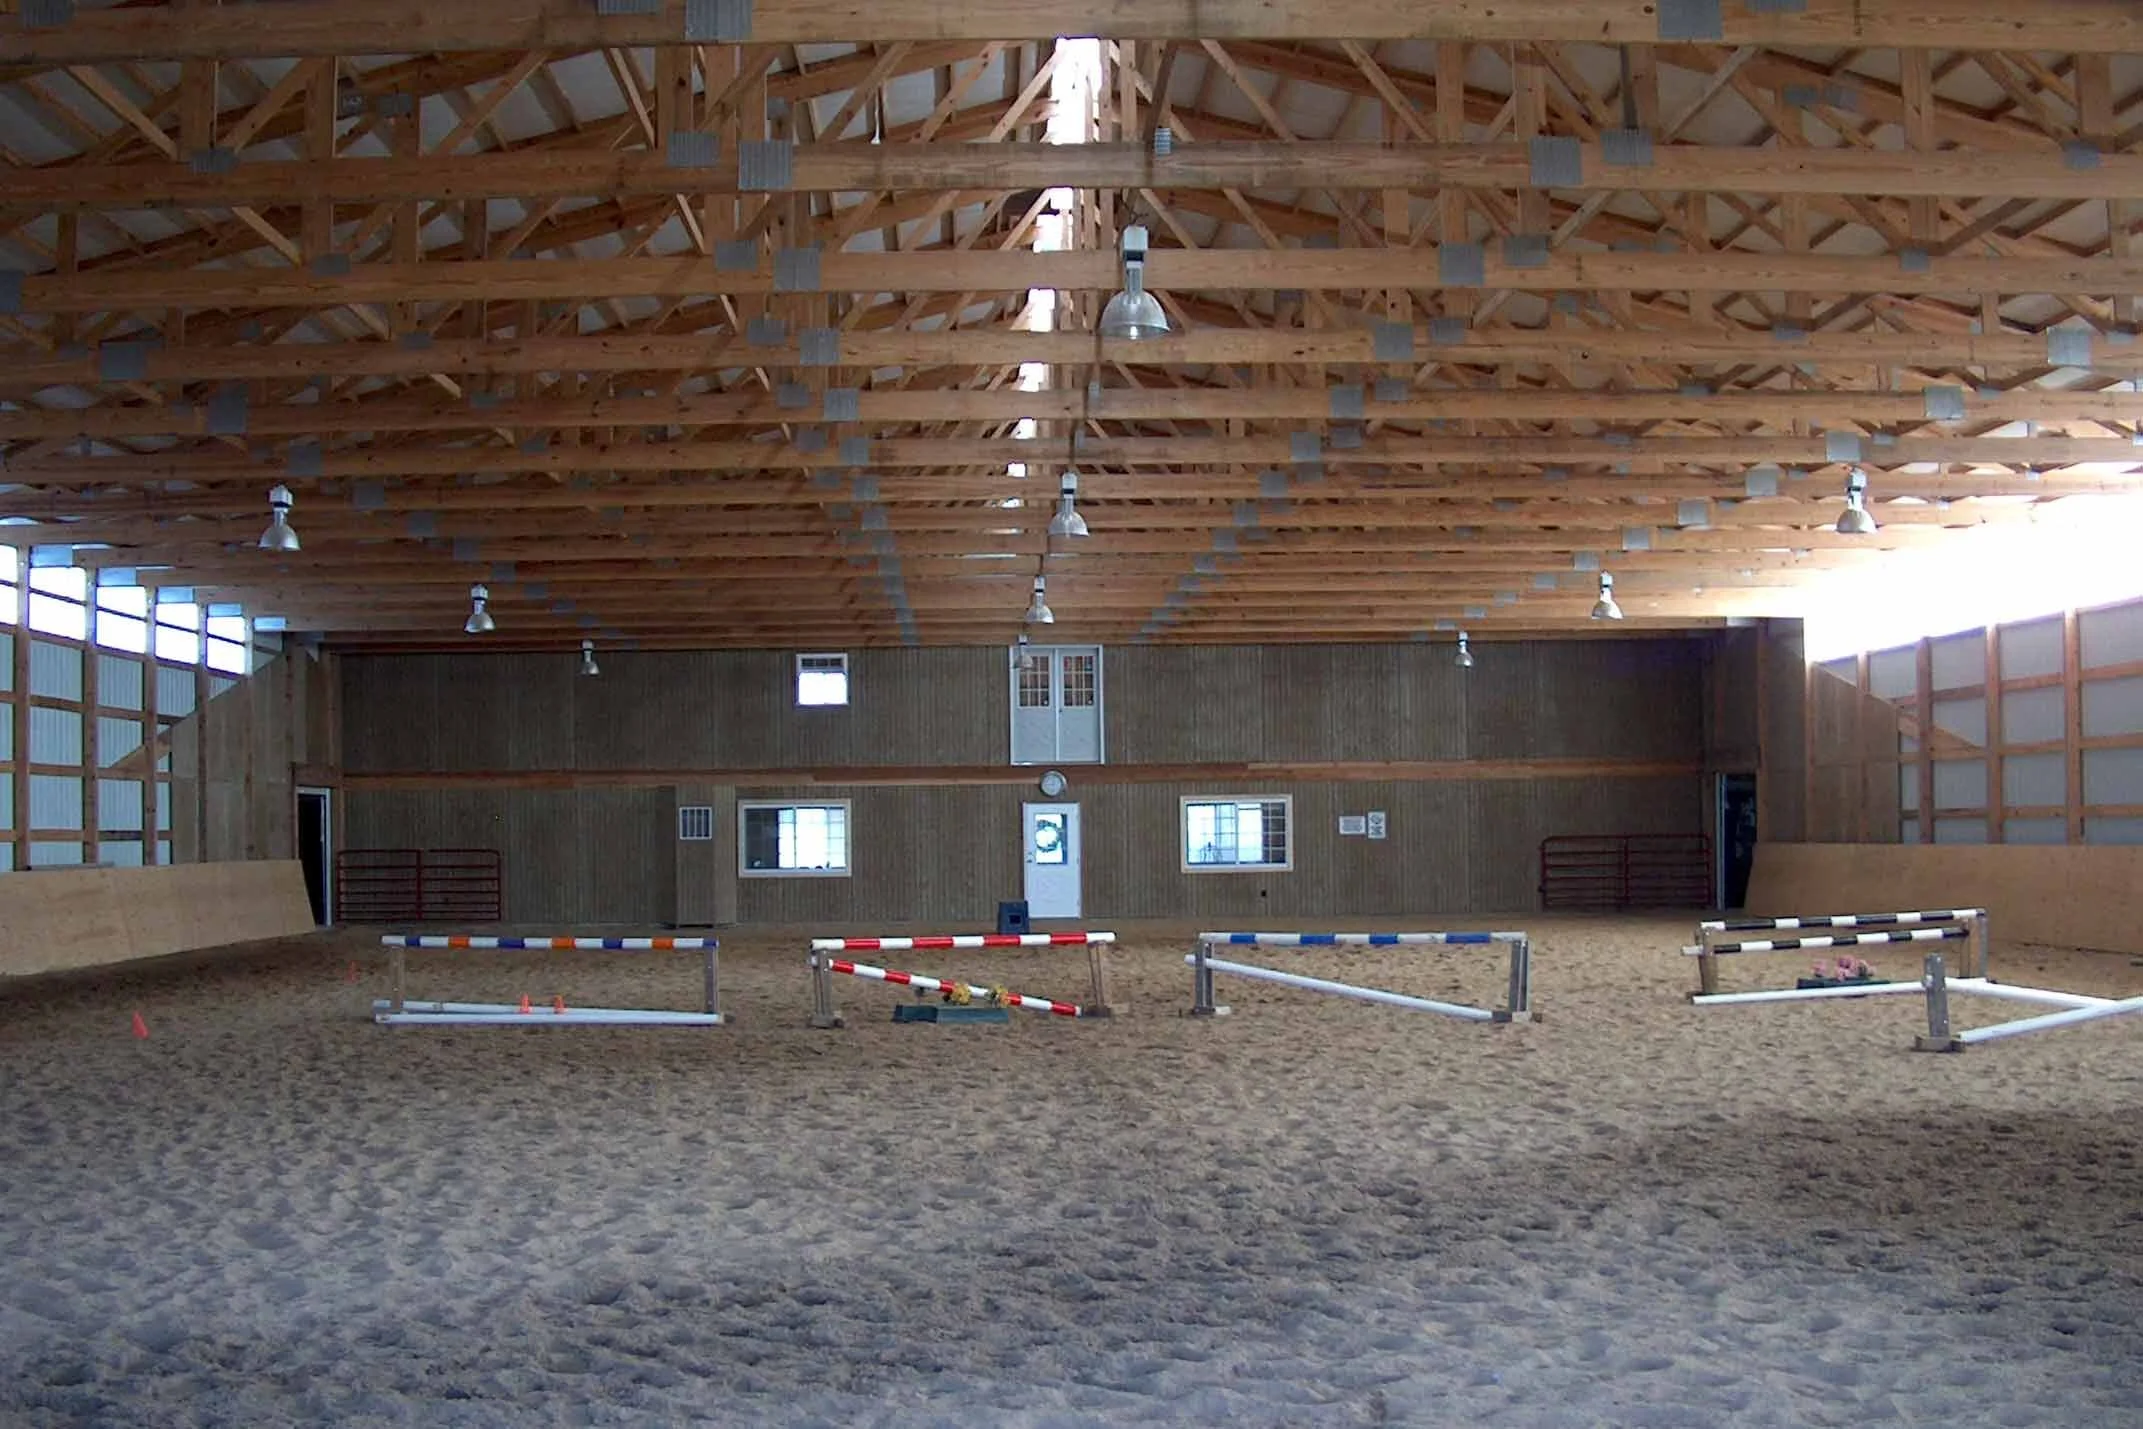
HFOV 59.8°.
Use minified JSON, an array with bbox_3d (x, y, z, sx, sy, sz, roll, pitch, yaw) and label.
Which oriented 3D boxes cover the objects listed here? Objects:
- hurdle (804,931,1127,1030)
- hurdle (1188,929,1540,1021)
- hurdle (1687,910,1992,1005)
[{"bbox_3d":[-0.919,2.295,16.075,2.734,0.794,0.504,3,7,-28],"label":"hurdle"},{"bbox_3d":[2.336,2.249,15.890,2.929,0.701,0.572,-2,-3,24],"label":"hurdle"},{"bbox_3d":[6.771,2.154,16.633,3.253,0.707,0.384,0,-5,-18],"label":"hurdle"}]
